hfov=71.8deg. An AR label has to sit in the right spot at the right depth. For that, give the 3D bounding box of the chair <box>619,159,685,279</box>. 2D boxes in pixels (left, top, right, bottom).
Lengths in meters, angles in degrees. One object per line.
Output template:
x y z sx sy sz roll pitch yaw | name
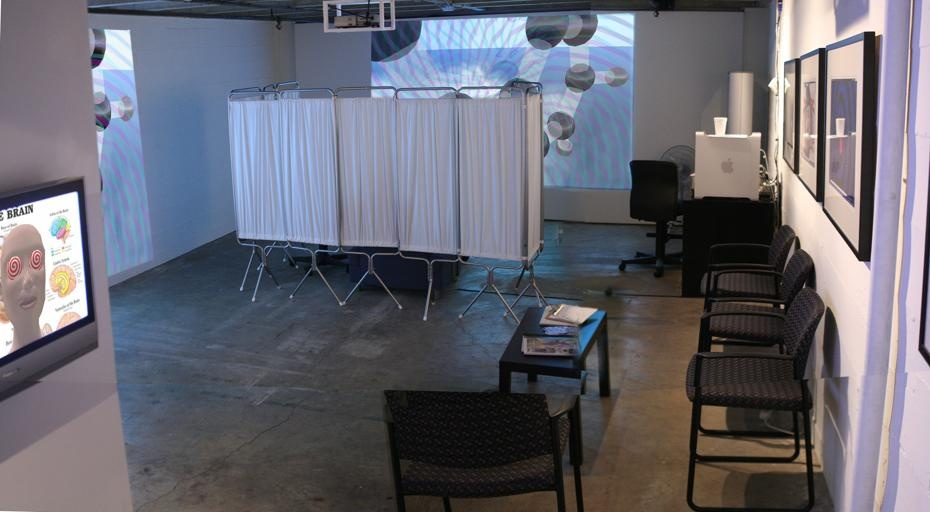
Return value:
2.650 -0.569 8.980 0.807 1.543 0.958 5 16 17 | chair

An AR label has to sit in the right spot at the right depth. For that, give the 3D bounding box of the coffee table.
0.869 1.226 5.935 0.808 0.820 1.357 2 18 18 | coffee table

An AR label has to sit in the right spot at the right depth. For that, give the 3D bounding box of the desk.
2.997 -0.052 8.294 1.562 1.473 1.169 3 14 15 | desk

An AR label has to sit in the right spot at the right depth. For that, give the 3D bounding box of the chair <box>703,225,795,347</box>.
3.076 0.206 7.004 1.161 1.170 0.942 2 27 17 | chair
